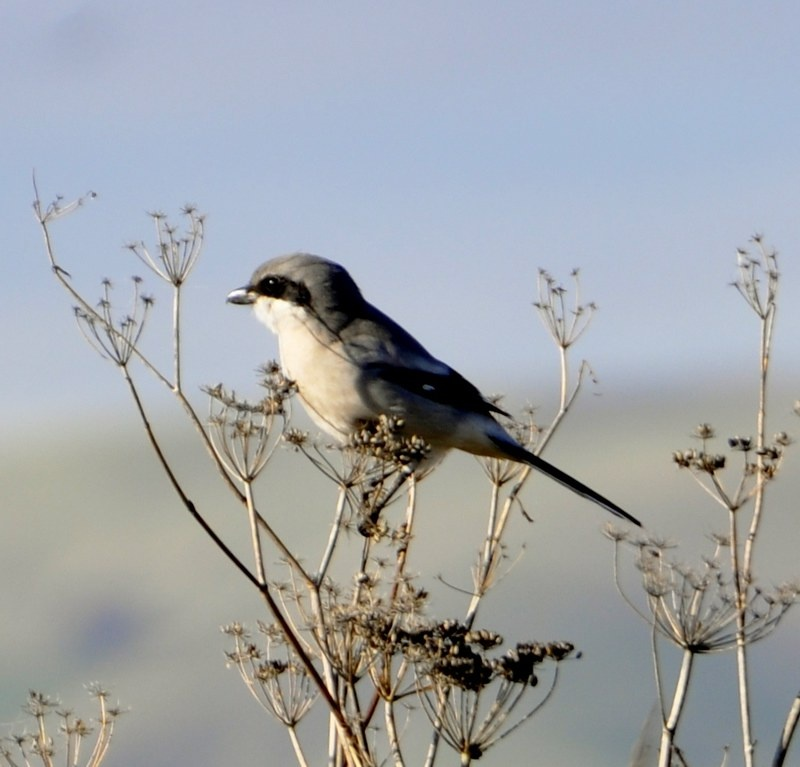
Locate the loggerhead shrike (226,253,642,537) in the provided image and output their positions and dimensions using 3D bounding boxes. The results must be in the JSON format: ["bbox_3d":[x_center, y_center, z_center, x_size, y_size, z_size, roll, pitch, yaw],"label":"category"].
[{"bbox_3d":[-0.074,-0.108,7.872,1.247,0.918,0.550,2,-8,-4],"label":"loggerhead shrike"}]
